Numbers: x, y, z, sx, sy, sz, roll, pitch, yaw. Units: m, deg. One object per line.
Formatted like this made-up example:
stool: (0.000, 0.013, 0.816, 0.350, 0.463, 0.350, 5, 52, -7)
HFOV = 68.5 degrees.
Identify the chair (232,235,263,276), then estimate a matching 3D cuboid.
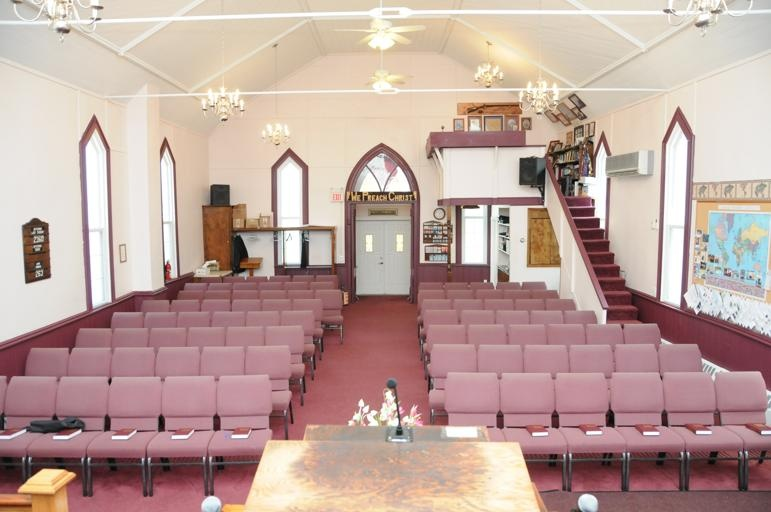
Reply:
chair: (-4.354, -0.040, 17.558, 0.829, 1.290, 0.615, -3, 5, -18)

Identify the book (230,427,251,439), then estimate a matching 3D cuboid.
book: (-2.160, 2.637, 8.431, 0.303, 0.093, 0.246, -2, 5, -12)

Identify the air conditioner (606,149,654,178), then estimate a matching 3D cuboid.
air conditioner: (5.617, -2.108, 13.080, 0.371, 0.557, 1.185, -2, 5, -15)

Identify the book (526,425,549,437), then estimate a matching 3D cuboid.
book: (2.254, 2.590, 8.404, 0.313, 0.088, 0.262, 0, 5, 11)

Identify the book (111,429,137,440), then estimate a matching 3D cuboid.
book: (-3.894, 2.650, 8.394, 0.339, 0.086, 0.221, -2, 5, -8)

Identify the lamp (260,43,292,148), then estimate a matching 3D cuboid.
lamp: (-3.098, -4.294, 15.815, 0.908, 2.717, 4.034, -2, 5, -11)

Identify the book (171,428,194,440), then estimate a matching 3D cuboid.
book: (-3.019, 2.644, 8.404, 0.311, 0.084, 0.223, -2, 5, -7)

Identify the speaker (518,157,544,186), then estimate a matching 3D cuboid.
speaker: (3.748, -2.177, 14.535, 0.710, 1.017, 0.543, 0, 1, 18)

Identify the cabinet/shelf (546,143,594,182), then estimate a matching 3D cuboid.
cabinet/shelf: (5.401, -2.755, 16.223, 0.378, 1.183, 2.213, -2, 5, -6)

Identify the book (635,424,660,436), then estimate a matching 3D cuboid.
book: (3.874, 2.578, 8.368, 0.305, 0.099, 0.206, -1, 5, 4)

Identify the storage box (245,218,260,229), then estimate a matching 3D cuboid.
storage box: (-4.101, -0.988, 17.394, 0.259, 0.344, 0.478, -1, 1, 33)

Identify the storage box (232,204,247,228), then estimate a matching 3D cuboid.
storage box: (-4.505, -1.218, 17.345, 0.381, 0.689, 0.226, -2, 5, -12)

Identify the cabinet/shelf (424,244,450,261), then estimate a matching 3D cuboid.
cabinet/shelf: (1.593, -0.070, 17.860, 0.776, 0.577, 0.166, -2, 5, -9)

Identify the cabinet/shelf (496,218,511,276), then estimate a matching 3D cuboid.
cabinet/shelf: (3.665, -0.304, 17.821, 0.288, 2.265, 0.790, -2, 5, -11)

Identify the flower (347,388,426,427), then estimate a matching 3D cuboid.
flower: (0.002, 2.206, 7.957, 1.011, 0.759, 1.267, 0, -6, -5)
